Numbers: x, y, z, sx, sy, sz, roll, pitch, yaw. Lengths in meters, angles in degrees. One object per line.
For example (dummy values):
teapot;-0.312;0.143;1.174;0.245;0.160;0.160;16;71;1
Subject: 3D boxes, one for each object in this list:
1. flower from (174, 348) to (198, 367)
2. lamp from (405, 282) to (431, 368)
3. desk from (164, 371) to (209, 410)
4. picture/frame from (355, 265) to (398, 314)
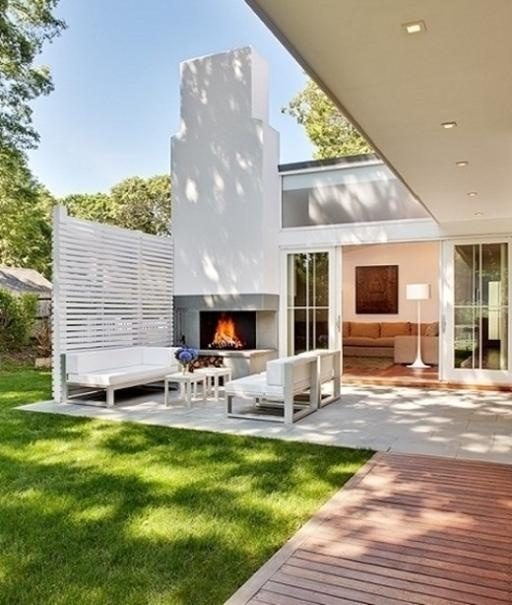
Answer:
flower;-0.947;0.728;6.637;0.291;0.298;0.265;-1;1;-25
lamp;3.513;0.499;10.332;0.530;1.987;0.567;0;15;19
desk;-0.971;1.191;6.727;0.547;0.541;0.576;-1;-5;3
picture/frame;3.279;-0.327;13.020;1.124;1.326;0.249;-1;-2;17
